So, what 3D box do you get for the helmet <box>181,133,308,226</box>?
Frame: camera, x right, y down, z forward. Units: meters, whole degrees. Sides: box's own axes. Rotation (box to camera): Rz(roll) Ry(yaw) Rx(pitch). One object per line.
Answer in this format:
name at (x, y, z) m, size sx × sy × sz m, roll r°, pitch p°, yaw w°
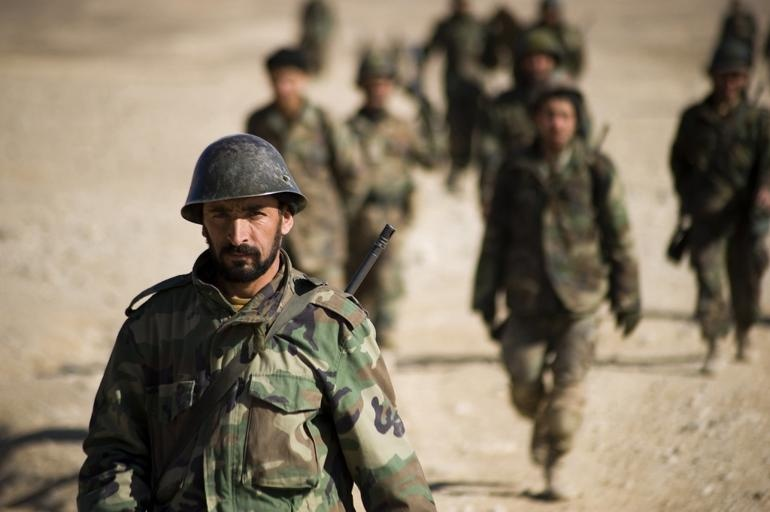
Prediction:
helmet at (-0.907, -0.531, 10.771) m, size 0.664 × 0.382 × 0.572 m, roll -7°, pitch -11°, yaw -41°
